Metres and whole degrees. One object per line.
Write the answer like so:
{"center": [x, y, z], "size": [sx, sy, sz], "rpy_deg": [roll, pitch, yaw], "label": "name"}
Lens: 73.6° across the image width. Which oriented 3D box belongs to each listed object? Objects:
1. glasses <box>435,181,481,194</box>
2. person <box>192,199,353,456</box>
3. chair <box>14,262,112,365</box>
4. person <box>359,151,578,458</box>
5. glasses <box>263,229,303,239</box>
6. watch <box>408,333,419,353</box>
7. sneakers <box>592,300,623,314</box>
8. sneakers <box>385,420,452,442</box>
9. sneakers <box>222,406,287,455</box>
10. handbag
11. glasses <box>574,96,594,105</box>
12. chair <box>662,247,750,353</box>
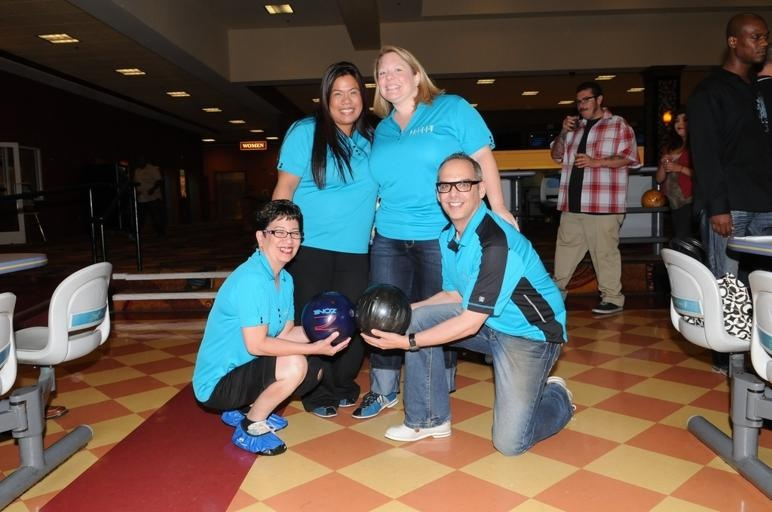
{"center": [0.408, -0.391, 2.896], "size": [0.237, 0.074, 0.070], "rpy_deg": [-1, 12, 5], "label": "glasses"}
{"center": [-0.759, 0.437, 3.076], "size": [0.796, 1.504, 0.414], "rpy_deg": [-6, 13, -18], "label": "person"}
{"center": [-2.068, 0.392, 3.288], "size": [0.581, 0.681, 0.435], "rpy_deg": [-3, 12, -4], "label": "chair"}
{"center": [0.560, 0.289, 3.041], "size": [1.070, 1.757, 0.587], "rpy_deg": [1, 13, 16], "label": "person"}
{"center": [-0.614, -0.128, 3.109], "size": [0.214, 0.067, 0.072], "rpy_deg": [-5, 12, -17], "label": "glasses"}
{"center": [0.153, 0.490, 2.944], "size": [0.068, 0.091, 0.100], "rpy_deg": [-17, 5, 3], "label": "watch"}
{"center": [2.479, 0.578, 5.831], "size": [0.383, 0.133, 0.132], "rpy_deg": [1, -5, -10], "label": "sneakers"}
{"center": [0.204, 1.099, 3.307], "size": [0.402, 0.161, 0.142], "rpy_deg": [2, -2, -6], "label": "sneakers"}
{"center": [-0.801, 1.066, 3.162], "size": [0.326, 0.102, 0.239], "rpy_deg": [8, 17, 6], "label": "sneakers"}
{"center": [2.153, 0.297, 3.201], "size": [0.337, 0.395, 0.113], "rpy_deg": [-22, -11, 29], "label": "handbag"}
{"center": [2.122, -1.676, 5.568], "size": [0.094, 0.077, 0.208], "rpy_deg": [-9, 13, -31], "label": "glasses"}
{"center": [1.956, 0.266, 3.160], "size": [0.496, 0.596, 0.224], "rpy_deg": [4, 14, 27], "label": "chair"}
